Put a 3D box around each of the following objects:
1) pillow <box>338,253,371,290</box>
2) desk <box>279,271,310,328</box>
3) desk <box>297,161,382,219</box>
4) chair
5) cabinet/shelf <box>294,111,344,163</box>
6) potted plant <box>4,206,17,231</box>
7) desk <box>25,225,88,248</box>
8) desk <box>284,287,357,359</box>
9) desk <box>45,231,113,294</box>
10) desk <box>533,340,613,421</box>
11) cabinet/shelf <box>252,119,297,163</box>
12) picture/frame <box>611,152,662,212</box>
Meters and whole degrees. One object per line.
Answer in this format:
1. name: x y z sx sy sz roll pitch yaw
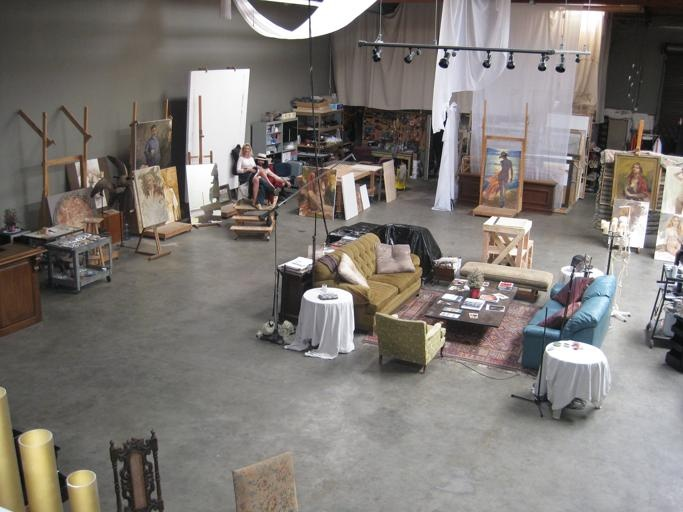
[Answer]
1. pillow: 0.184 0.236 8.695 0.476 0.451 0.834 -2 12 0
2. desk: -0.737 0.703 8.472 0.396 0.881 0.601 7 18 18
3. desk: -0.057 -1.735 14.210 0.954 0.868 1.956 13 25 29
4. chair: 1.046 1.172 7.643 0.811 0.908 0.861 8 25 27
5. cabinet/shelf: -0.770 -3.940 17.415 1.129 1.732 1.916 1 12 15
6. potted plant: -6.215 -0.677 9.819 0.209 0.385 0.358 -10 14 -33
7. desk: -5.461 -0.405 9.911 0.767 0.278 0.942 4 14 27
8. desk: -0.292 1.021 7.965 0.969 0.936 0.580 -2 12 1
9. desk: -4.868 0.110 9.788 0.630 0.859 0.944 7 15 13
10. desk: 3.033 1.498 6.931 0.839 0.828 0.882 0 21 1
11. cabinet/shelf: -1.811 -3.489 16.409 1.253 1.249 0.444 -3 -1 23
12. picture/frame: 6.973 -1.736 12.285 1.185 1.582 0.112 10 20 32
